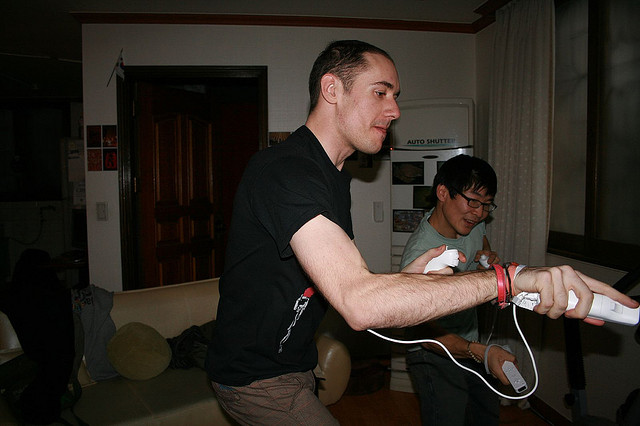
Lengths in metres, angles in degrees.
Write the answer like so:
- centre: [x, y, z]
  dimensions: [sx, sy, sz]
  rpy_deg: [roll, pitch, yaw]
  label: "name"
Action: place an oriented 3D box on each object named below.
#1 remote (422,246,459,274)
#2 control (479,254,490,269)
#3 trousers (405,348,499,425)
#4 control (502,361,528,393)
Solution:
- centre: [0.621, 0.263, 2.387]
  dimensions: [0.187, 0.110, 0.078]
  rpy_deg: [-35, 7, 10]
  label: "remote"
- centre: [1.080, 0.312, 3.055]
  dimensions: [0.060, 0.073, 0.067]
  rpy_deg: [3, 7, 20]
  label: "control"
- centre: [0.850, 1.131, 2.983]
  dimensions: [0.558, 0.594, 0.241]
  rpy_deg: [-1, 7, -16]
  label: "trousers"
- centre: [1.096, 0.927, 2.602]
  dimensions: [0.087, 0.031, 0.189]
  rpy_deg: [-20, 45, 0]
  label: "control"
